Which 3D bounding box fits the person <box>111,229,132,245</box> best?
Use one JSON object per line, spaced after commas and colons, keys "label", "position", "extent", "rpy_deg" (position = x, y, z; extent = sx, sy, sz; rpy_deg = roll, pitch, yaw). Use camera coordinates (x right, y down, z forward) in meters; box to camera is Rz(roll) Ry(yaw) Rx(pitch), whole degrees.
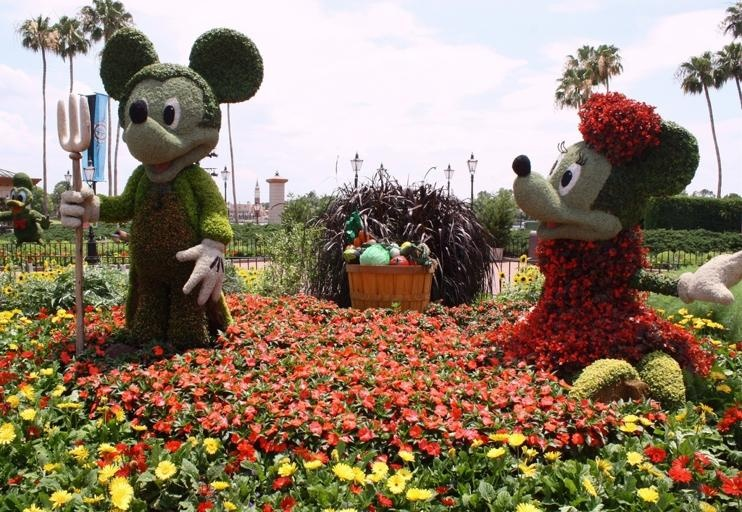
{"label": "person", "position": [-2.495, -0.176, 6.020], "extent": [0.143, 0.174, 0.935], "rpy_deg": [-1, 7, -24]}

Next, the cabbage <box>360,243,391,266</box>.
{"label": "cabbage", "position": [0.056, -0.015, 7.435], "extent": [0.375, 0.227, 0.405], "rpy_deg": [1, 6, -1]}

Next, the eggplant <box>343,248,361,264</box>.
{"label": "eggplant", "position": [-0.236, -0.009, 7.686], "extent": [0.211, 0.202, 0.248], "rpy_deg": [1, 6, -4]}

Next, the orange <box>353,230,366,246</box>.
{"label": "orange", "position": [-0.130, -0.227, 7.869], "extent": [0.124, 0.202, 0.165], "rpy_deg": [4, 7, 25]}

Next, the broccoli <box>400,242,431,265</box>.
{"label": "broccoli", "position": [0.542, -0.031, 7.394], "extent": [0.288, 0.254, 0.291], "rpy_deg": [27, 1, 32]}
